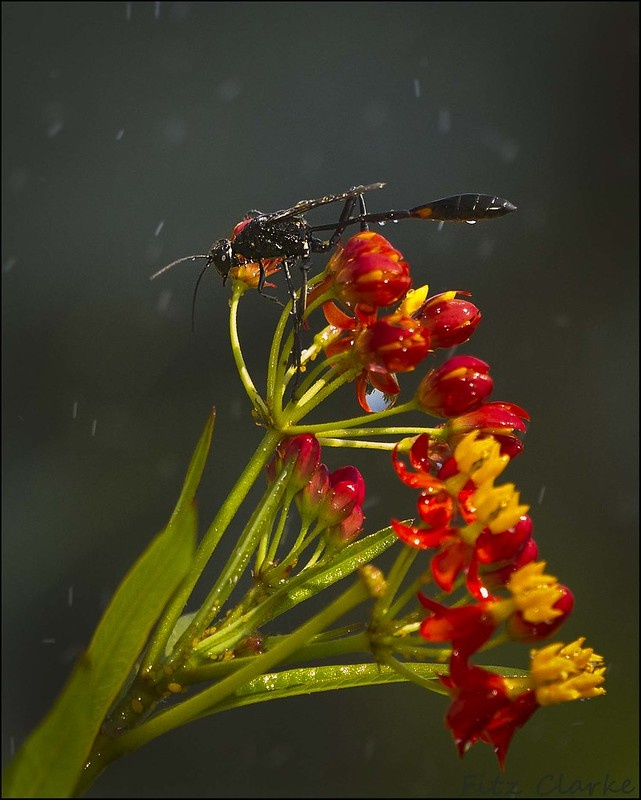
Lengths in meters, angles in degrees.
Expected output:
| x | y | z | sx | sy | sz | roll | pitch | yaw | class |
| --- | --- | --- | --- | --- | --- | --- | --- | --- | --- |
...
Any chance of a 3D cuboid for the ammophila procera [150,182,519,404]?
| x | y | z | sx | sy | sz | roll | pitch | yaw | class |
| --- | --- | --- | --- | --- | --- | --- | --- | --- | --- |
| 0.032 | -0.078 | 0.881 | 0.320 | 0.207 | 0.090 | -11 | -75 | 12 | ammophila procera |
